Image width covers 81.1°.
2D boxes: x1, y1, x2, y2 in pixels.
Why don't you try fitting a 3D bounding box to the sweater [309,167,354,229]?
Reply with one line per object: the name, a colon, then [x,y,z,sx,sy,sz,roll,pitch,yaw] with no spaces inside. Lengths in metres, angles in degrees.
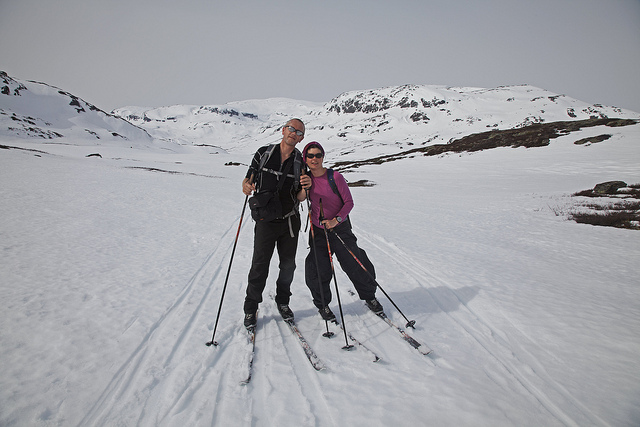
sweater: [0.267,-0.643,11.353,1.542,1.497,0.873,-1,29,31]
